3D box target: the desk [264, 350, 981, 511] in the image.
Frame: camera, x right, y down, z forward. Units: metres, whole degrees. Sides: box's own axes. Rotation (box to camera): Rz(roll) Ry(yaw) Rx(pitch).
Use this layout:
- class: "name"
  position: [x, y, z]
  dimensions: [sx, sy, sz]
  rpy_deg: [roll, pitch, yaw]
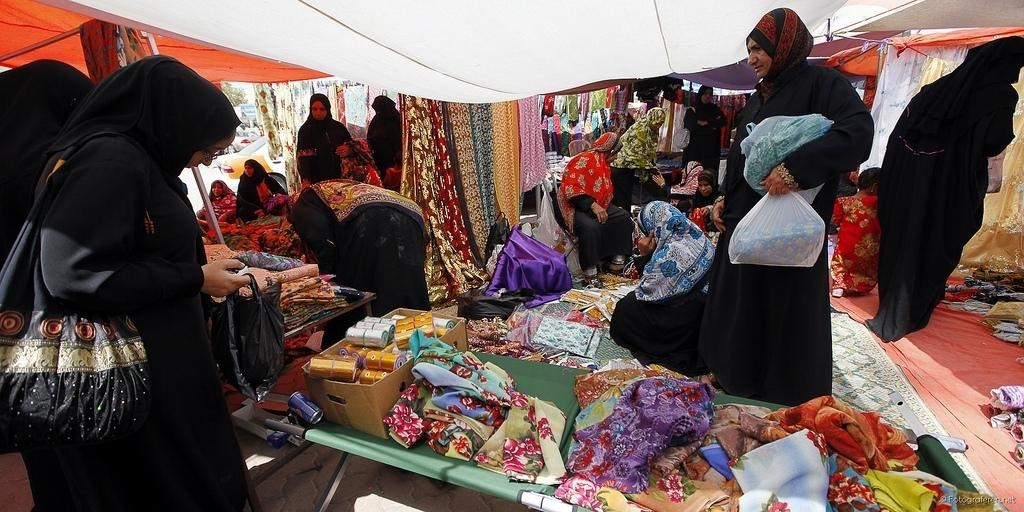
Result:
- class: "desk"
  position: [-0.047, 1.344, 4.092]
  dimensions: [3.654, 1.021, 1.015]
  rpy_deg: [0, 13, 13]

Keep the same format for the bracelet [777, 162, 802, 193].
- class: "bracelet"
  position: [1.984, -0.558, 3.970]
  dimensions: [0.072, 0.191, 0.147]
  rpy_deg: [-45, -6, 39]

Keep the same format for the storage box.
- class: "storage box"
  position: [-0.897, 0.792, 4.238]
  dimensions: [0.790, 0.375, 1.090]
  rpy_deg: [5, 23, 28]
